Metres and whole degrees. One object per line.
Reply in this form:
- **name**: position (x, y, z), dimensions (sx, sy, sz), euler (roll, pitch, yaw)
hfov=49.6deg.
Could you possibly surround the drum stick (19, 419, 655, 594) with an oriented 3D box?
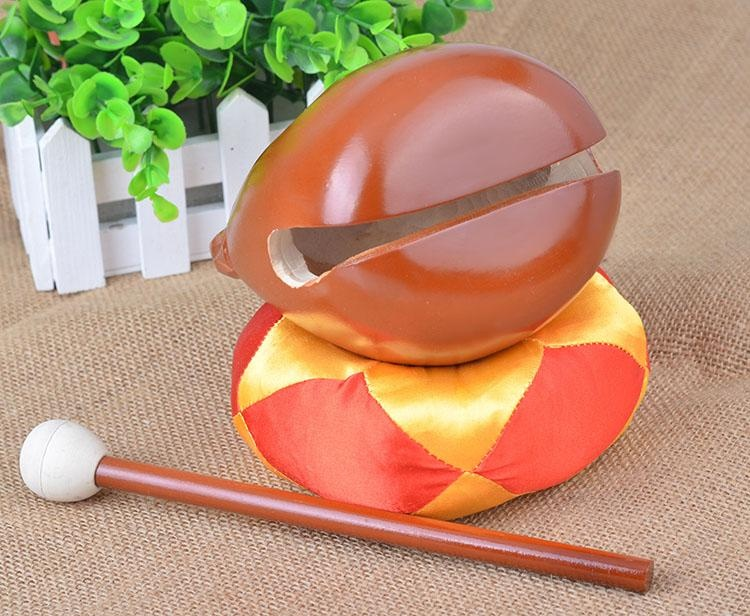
- **drum stick**: position (-0.038, 0.236, 0.939), dimensions (0.731, 0.101, 0.092), euler (6, 54, 13)

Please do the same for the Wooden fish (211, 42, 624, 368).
- **Wooden fish**: position (0.052, -0.087, 0.978), dimensions (0.486, 0.312, 0.300), euler (-15, 69, -6)
